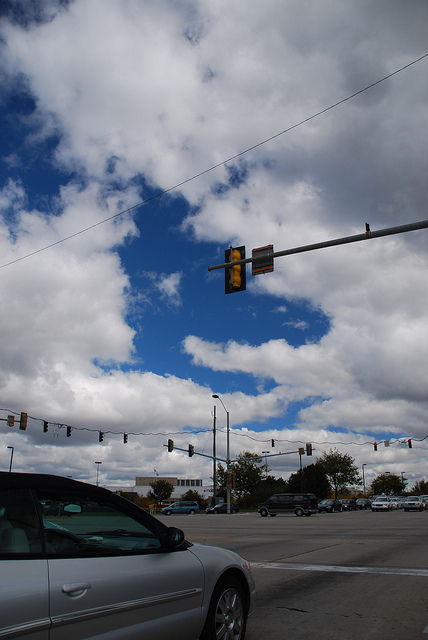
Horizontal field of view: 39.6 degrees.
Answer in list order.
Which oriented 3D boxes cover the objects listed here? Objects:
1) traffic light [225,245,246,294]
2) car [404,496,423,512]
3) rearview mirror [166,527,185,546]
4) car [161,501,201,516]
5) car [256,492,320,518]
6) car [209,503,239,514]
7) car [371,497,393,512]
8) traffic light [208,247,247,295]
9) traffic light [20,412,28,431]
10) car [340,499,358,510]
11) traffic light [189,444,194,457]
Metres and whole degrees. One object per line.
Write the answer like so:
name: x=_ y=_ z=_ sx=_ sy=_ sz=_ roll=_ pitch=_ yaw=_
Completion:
traffic light: x=0.428 y=-1.097 z=12.641 sx=0.405 sy=1.133 sz=0.490 roll=0 pitch=-11 yaw=0
car: x=16.070 y=14.808 z=47.844 sx=0.946 sy=0.783 sz=1.608 roll=-9 pitch=-57 yaw=17
rearview mirror: x=-0.288 y=1.570 z=4.316 sx=0.120 sy=0.149 sz=0.056 roll=-9 pitch=-5 yaw=15
car: x=-2.933 y=17.194 z=54.361 sx=3.111 sy=1.054 sz=1.384 roll=5 pitch=-19 yaw=-6
car: x=5.221 y=13.326 z=42.767 sx=3.732 sy=1.447 sz=2.011 roll=-3 pitch=-23 yaw=17
car: x=0.904 y=17.105 z=53.566 sx=2.592 sy=0.898 sz=1.222 roll=3 pitch=-15 yaw=0
car: x=14.792 y=16.135 z=52.300 sx=1.229 sy=0.845 sz=2.073 roll=-8 pitch=-38 yaw=13
traffic light: x=0.398 y=-1.082 z=12.640 sx=1.151 sy=0.991 sz=0.378 roll=-7 pitch=-15 yaw=24
traffic light: x=-8.812 y=4.640 z=27.389 sx=0.234 sy=0.682 sz=0.559 roll=2 pitch=-11 yaw=-11
car: x=12.825 y=17.538 z=56.566 sx=1.151 sy=0.841 sz=2.645 roll=-16 pitch=-34 yaw=24
traffic light: x=-1.641 y=9.080 z=41.276 sx=0.252 sy=0.605 sz=0.618 roll=2 pitch=-11 yaw=-11
